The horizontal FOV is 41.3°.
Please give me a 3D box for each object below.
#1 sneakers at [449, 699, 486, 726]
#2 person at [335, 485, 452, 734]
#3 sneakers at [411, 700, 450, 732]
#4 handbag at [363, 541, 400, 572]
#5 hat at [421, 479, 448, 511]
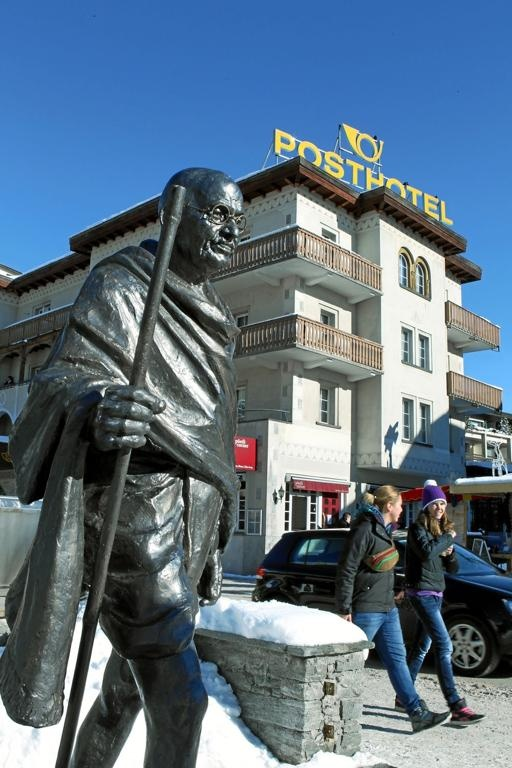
[{"bbox_3d":[1.714,2.745,5.660,0.362,0.246,0.122,0,-13,-1],"label":"sneakers"},{"bbox_3d":[1.050,1.868,5.585,0.803,1.667,0.452,4,-8,7],"label":"person"},{"bbox_3d":[1.326,2.631,5.325,0.268,0.250,0.254,6,-8,-4],"label":"sneakers"},{"bbox_3d":[1.053,1.474,5.713,0.254,0.115,0.191,3,33,29],"label":"handbag"},{"bbox_3d":[1.738,1.058,6.552,0.235,0.254,0.312,-7,-13,-2],"label":"hat"}]
